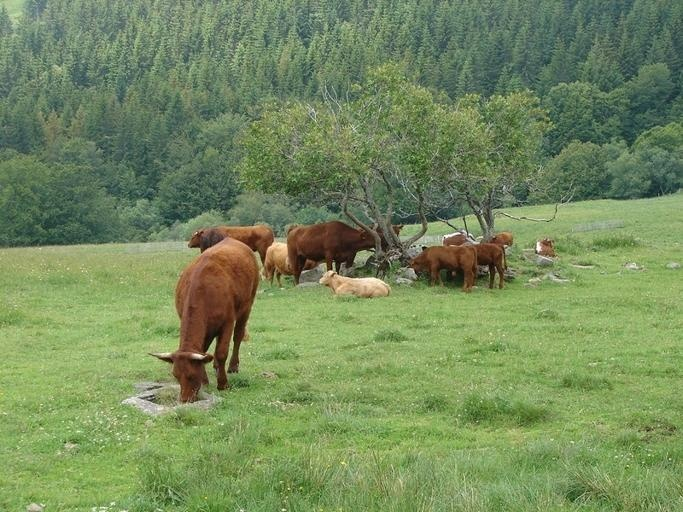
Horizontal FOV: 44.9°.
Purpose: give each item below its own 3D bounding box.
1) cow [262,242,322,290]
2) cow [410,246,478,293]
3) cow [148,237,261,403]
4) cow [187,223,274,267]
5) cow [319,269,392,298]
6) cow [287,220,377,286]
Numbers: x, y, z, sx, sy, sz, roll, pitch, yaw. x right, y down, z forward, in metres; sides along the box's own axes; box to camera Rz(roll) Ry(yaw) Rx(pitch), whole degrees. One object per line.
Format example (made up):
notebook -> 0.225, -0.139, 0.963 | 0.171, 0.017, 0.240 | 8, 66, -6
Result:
cow -> -2.152, 0.419, 39.841 | 3.862, 2.323, 1.330 | -1, 7, 32
cow -> 4.771, 0.533, 38.451 | 3.259, 2.066, 0.930 | 2, 3, 29
cow -> -3.996, 1.947, 24.910 | 1.704, 3.993, 3.671 | 6, 14, 19
cow -> -5.663, -0.238, 41.526 | 4.521, 2.635, 1.491 | 2, -22, 1
cow -> 0.631, 1.419, 36.396 | 3.158, 1.588, 1.178 | 6, 4, 16
cow -> 0.238, -0.538, 38.958 | 5.535, 3.674, 1.908 | -3, 5, 7
